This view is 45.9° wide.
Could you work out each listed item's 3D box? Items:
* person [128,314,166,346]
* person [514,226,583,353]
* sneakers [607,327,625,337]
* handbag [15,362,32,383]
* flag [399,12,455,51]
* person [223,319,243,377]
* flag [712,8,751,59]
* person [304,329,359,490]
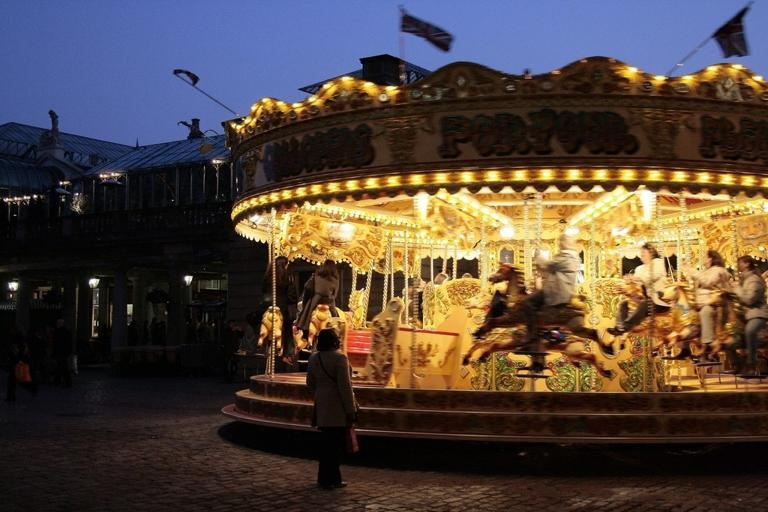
[{"bbox_3d":[-10.794,3.431,41.277,1.844,1.266,0.835,-3,-16,5],"label":"person"},{"bbox_3d":[2.917,0.643,15.629,0.956,2.045,0.496,1,-3,3],"label":"person"},{"bbox_3d":[4.102,1.341,16.042,0.133,0.201,0.341,7,4,-27],"label":"sneakers"},{"bbox_3d":[-9.087,2.931,22.848,0.349,0.599,0.583,2,-3,-15],"label":"handbag"},{"bbox_3d":[0.826,-4.336,17.485,1.047,0.917,0.810,0,-3,6],"label":"flag"},{"bbox_3d":[-4.910,3.094,29.495,0.523,1.868,1.593,1,-3,-9],"label":"person"},{"bbox_3d":[6.518,-4.137,17.001,0.589,0.918,0.623,0,-3,15],"label":"flag"},{"bbox_3d":[-0.785,2.333,13.899,0.781,2.390,0.464,1,-3,-1],"label":"person"}]
